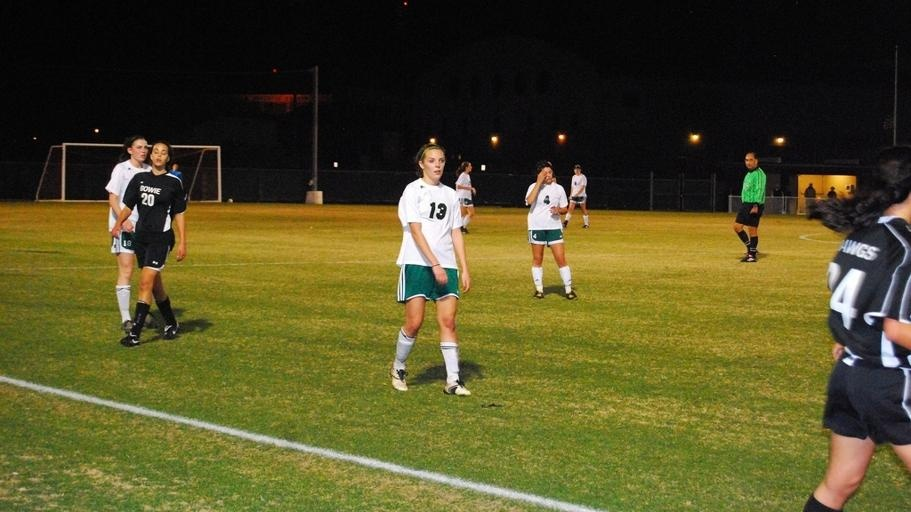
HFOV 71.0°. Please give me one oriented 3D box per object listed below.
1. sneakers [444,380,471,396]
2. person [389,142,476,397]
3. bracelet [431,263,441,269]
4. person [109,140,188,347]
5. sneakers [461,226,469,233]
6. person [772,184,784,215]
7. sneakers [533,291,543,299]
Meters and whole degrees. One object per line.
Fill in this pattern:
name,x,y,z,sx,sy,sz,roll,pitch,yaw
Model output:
sneakers,0.001,1.543,7.400,0.330,0.115,0.158,3,2,18
person,-0.256,0.147,7.369,0.920,2.908,0.750,4,4,14
bracelet,-0.218,0.110,7.027,0.090,0.040,0.061,1,4,-7
person,-4.399,-0.210,9.199,0.889,2.891,0.916,1,4,-24
sneakers,0.356,-1.058,26.162,0.251,0.277,0.295,-4,7,6
person,22.173,-3.676,43.849,0.823,1.606,0.963,4,4,20
sneakers,1.620,0.806,12.735,0.220,0.169,0.134,-3,-18,15
